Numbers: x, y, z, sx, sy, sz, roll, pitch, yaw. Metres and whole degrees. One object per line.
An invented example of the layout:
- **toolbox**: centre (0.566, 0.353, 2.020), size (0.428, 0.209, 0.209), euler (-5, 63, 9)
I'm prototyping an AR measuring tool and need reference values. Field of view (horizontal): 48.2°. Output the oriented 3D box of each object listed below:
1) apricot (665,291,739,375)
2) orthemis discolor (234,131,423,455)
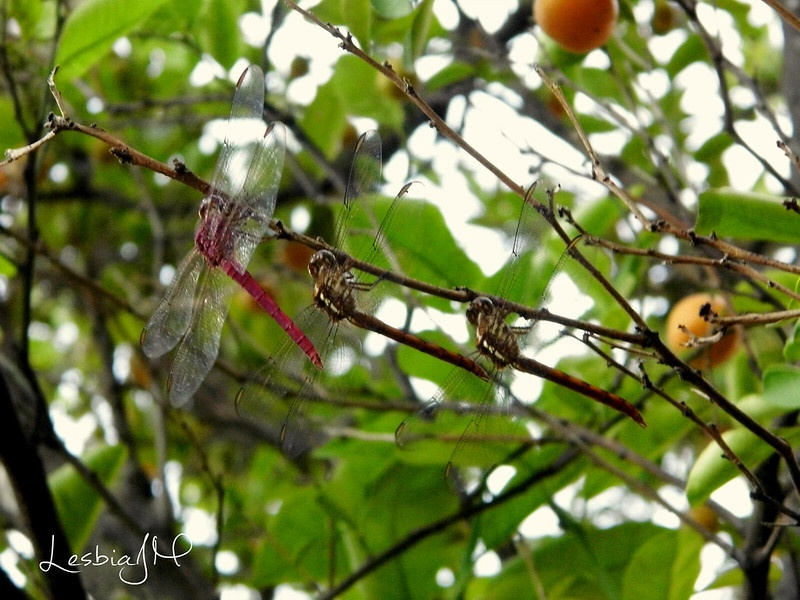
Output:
- **apricot**: centre (0.765, 0.090, 2.255), size (0.142, 0.161, 0.183), euler (-4, -35, 5)
- **orthemis discolor**: centre (-0.167, 0.003, 2.140), size (0.396, 0.358, 0.860), euler (1, -73, 2)
